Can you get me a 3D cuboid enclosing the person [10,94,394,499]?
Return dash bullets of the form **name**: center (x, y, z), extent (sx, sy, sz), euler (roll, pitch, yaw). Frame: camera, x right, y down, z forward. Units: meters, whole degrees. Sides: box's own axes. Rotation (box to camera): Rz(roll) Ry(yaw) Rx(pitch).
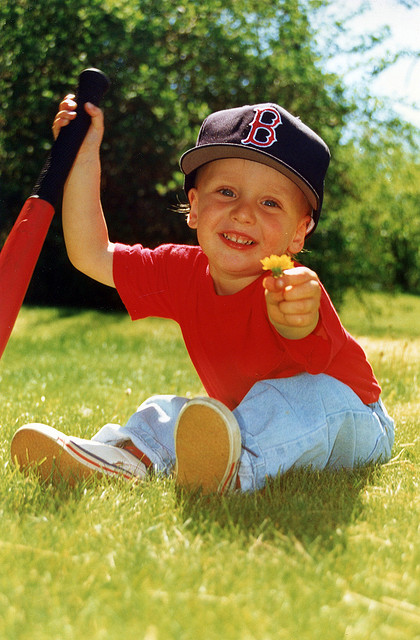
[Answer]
- **person**: center (-0.067, 0.055, 1.945), extent (0.936, 1.084, 1.052), euler (-14, -21, 34)
